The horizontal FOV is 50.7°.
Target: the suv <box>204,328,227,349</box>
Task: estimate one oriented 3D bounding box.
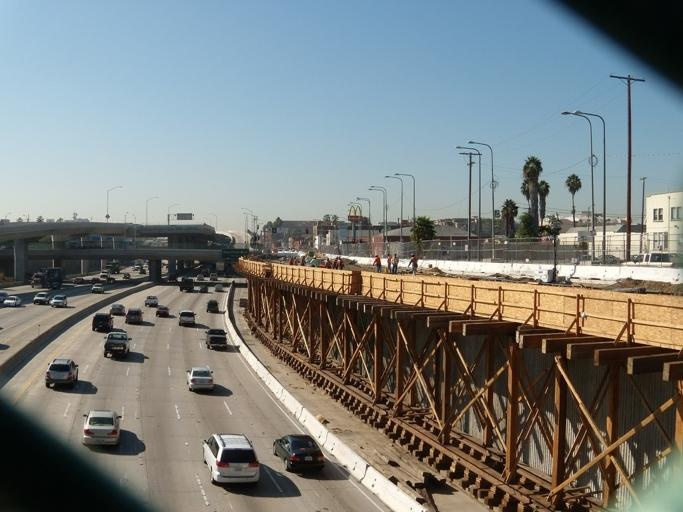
[{"bbox_3d":[-10.483,7.095,60.067,1.538,1.519,2.213,-3,2,-18],"label":"suv"}]

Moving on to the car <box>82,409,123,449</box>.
[{"bbox_3d":[-10.907,7.980,32.642,1.587,1.476,1.283,-3,2,-23],"label":"car"}]

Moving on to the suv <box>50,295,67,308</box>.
[{"bbox_3d":[-30.092,4.907,76.740,1.115,1.078,2.136,-1,-6,-9],"label":"suv"}]

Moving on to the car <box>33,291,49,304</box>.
[{"bbox_3d":[-33.241,4.811,79.631,1.144,1.125,2.390,0,-7,-12],"label":"car"}]

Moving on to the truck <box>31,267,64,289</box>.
[{"bbox_3d":[-42.622,3.164,105.760,3.238,3.214,5.942,1,-3,6],"label":"truck"}]

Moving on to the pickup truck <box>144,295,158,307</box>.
[{"bbox_3d":[-22.687,5.480,85.694,1.040,0.844,1.874,0,7,-9],"label":"pickup truck"}]

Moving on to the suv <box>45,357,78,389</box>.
[{"bbox_3d":[-16.601,6.995,43.001,1.147,1.021,2.478,0,7,-11],"label":"suv"}]

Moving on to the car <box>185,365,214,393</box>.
[{"bbox_3d":[-8.741,7.751,44.518,1.405,1.235,1.720,-3,2,-19],"label":"car"}]

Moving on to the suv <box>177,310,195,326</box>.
[{"bbox_3d":[-15.364,6.344,71.510,1.563,1.460,1.825,-3,2,-16],"label":"suv"}]

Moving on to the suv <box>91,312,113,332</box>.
[{"bbox_3d":[-20.930,5.853,63.002,1.187,1.043,2.007,0,14,-13],"label":"suv"}]

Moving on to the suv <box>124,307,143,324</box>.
[{"bbox_3d":[-20.193,5.963,70.110,1.122,0.899,1.917,0,10,-11],"label":"suv"}]

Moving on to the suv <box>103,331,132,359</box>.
[{"bbox_3d":[-16.579,6.645,53.261,1.238,0.938,2.608,2,12,-9],"label":"suv"}]
